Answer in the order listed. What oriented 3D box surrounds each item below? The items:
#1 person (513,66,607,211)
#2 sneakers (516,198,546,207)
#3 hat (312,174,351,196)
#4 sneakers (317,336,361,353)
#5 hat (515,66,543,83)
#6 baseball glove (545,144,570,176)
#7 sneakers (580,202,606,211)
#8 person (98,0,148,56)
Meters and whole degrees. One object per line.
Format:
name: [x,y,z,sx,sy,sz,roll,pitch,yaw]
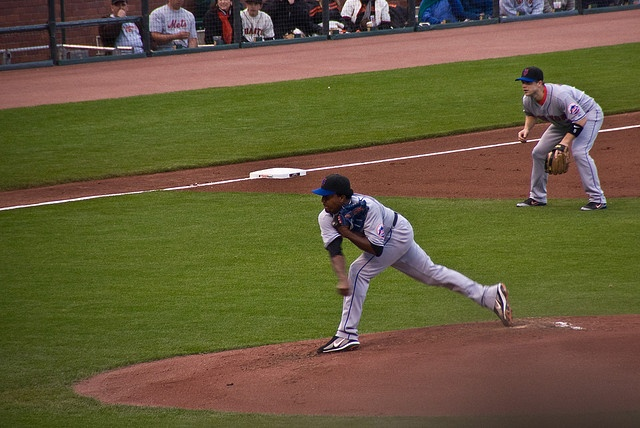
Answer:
person: [3.832,-1.177,18.472,1.308,2.340,0.817,-5,11,11]
sneakers: [3.422,-0.184,19.035,0.518,0.147,0.163,2,3,-2]
hat: [0.154,-0.356,14.729,0.456,0.196,0.260,2,10,0]
sneakers: [0.241,1.683,14.946,0.637,0.185,0.185,-1,-2,0]
hat: [3.291,-2.168,18.195,0.462,0.187,0.259,2,14,-6]
baseball glove: [3.739,-0.841,18.172,0.193,0.419,0.376,17,-25,-42]
sneakers: [4.371,-0.111,18.564,0.455,0.135,0.133,0,10,5]
person: [-4.805,-4.459,28.050,1.048,1.293,1.076,-8,10,-7]
